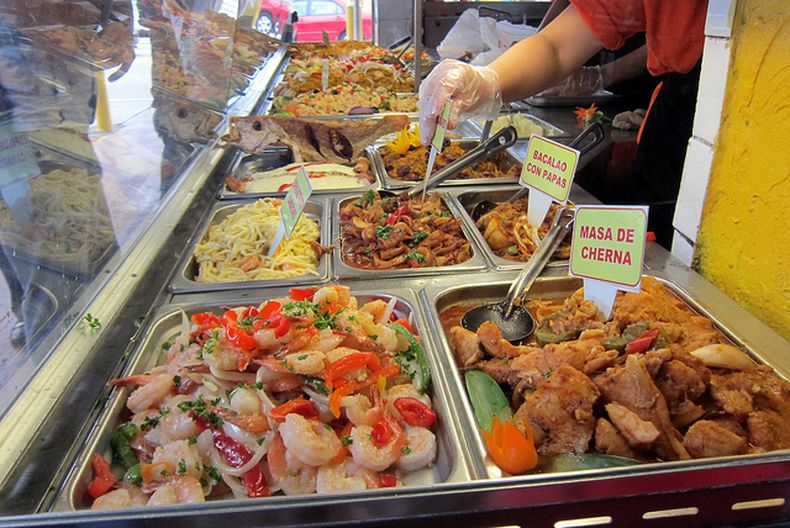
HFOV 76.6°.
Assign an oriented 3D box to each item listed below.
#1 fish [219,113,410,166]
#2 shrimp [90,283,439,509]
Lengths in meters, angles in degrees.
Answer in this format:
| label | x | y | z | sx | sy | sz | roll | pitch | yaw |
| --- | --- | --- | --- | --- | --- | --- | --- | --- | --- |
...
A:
| label | x | y | z | sx | sy | sz | roll | pitch | yaw |
| --- | --- | --- | --- | --- | --- | --- | --- | --- | --- |
| fish | -0.500 | -0.856 | 3.425 | 1.215 | 0.438 | 0.196 | -15 | 33 | -19 |
| shrimp | -0.437 | 0.416 | 1.741 | 1.140 | 0.439 | 0.700 | -6 | 30 | -3 |
